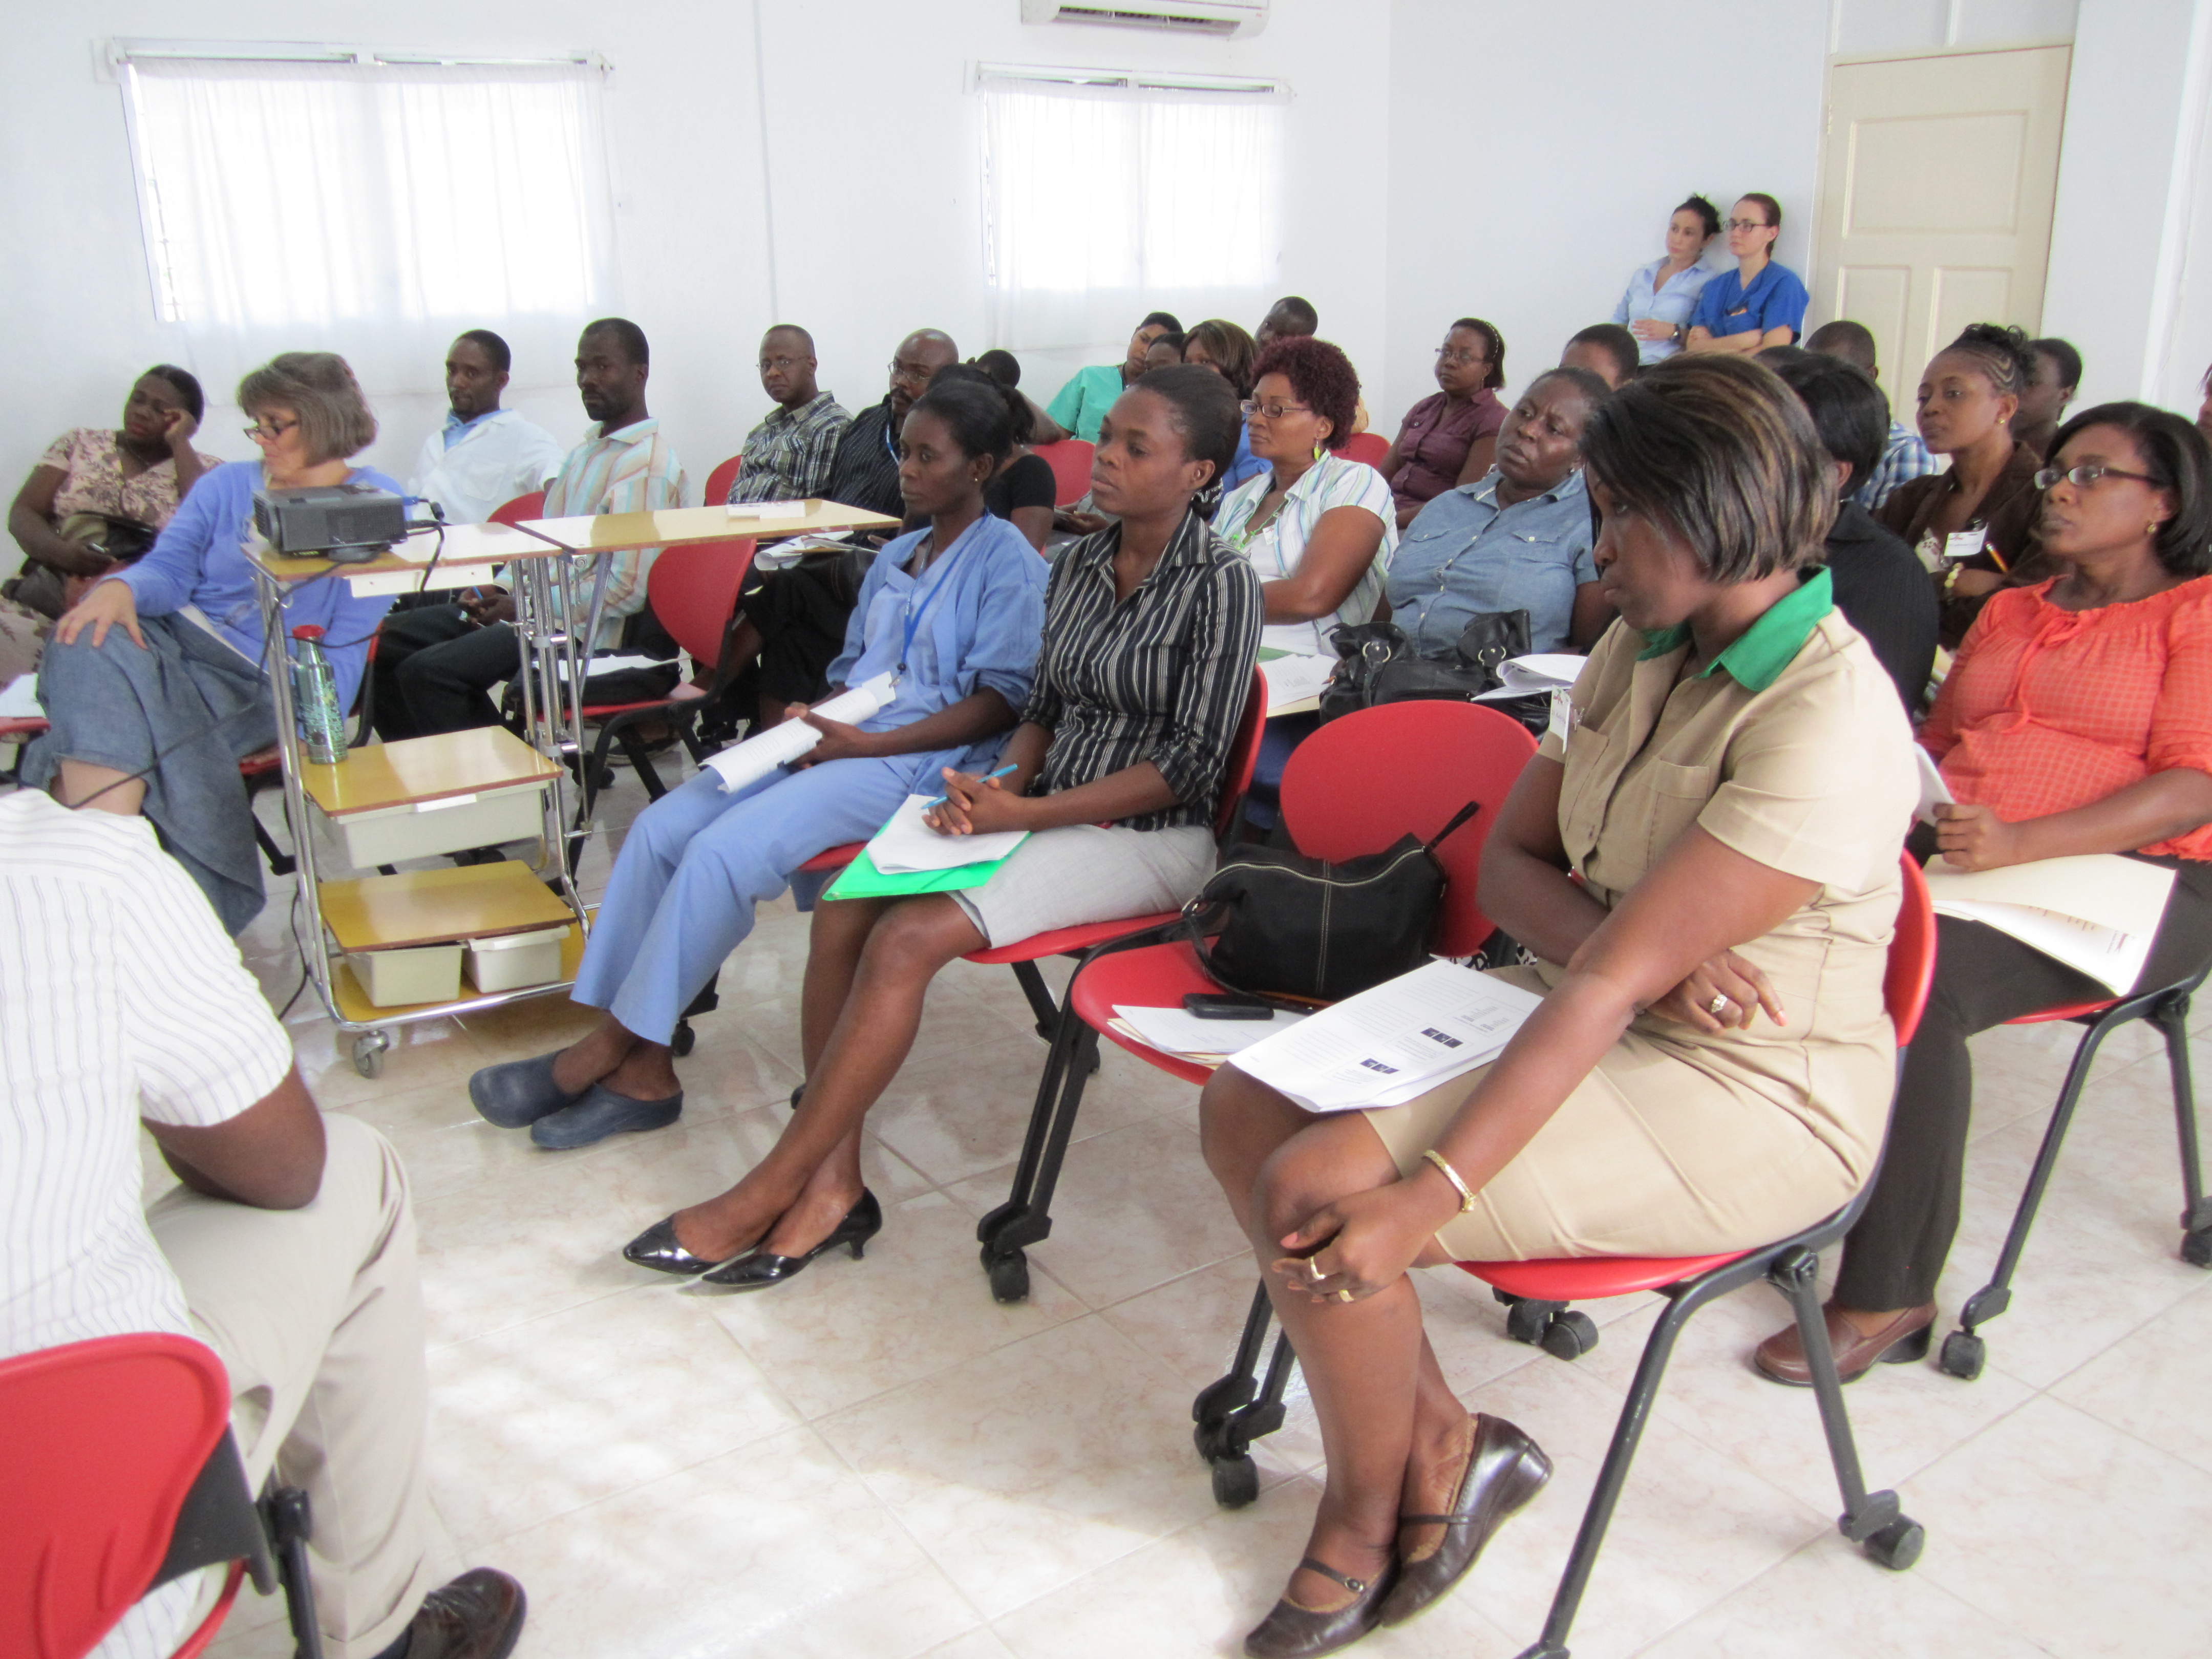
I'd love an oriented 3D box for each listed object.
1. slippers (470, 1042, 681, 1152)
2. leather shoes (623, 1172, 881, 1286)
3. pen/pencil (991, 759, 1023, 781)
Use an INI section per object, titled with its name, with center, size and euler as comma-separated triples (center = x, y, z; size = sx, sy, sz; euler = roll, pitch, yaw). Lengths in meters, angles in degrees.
[slippers]
center = -0.969, 0.486, 2.893
size = 0.262, 0.074, 0.185
euler = 7, 14, -33
[leather shoes]
center = -0.573, 0.637, 2.551
size = 0.375, 0.146, 0.146
euler = 4, 2, -19
[pen/pencil]
center = -0.167, -0.101, 2.725
size = 0.021, 0.025, 0.094
euler = -38, 0, 6
